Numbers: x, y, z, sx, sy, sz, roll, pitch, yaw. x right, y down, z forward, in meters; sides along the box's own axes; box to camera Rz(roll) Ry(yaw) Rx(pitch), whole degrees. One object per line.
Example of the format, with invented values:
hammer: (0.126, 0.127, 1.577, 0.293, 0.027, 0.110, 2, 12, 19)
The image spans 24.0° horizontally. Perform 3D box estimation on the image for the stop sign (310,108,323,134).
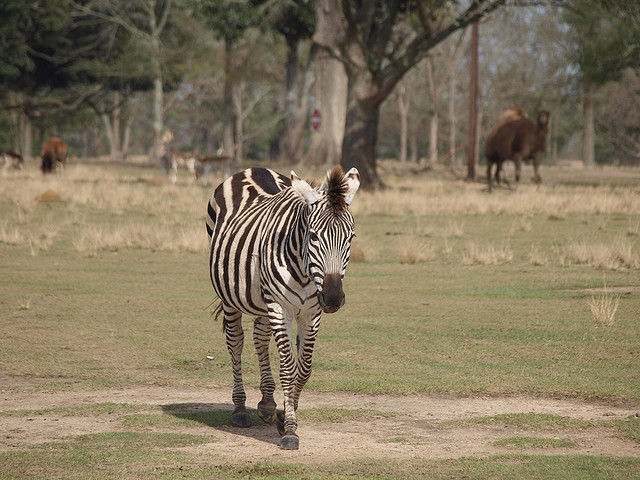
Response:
stop sign: (-0.148, -3.913, 48.426, 0.348, 0.746, 1.071, 2, 2, 3)

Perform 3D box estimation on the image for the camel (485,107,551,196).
camel: (5.690, -2.835, 44.585, 1.235, 2.364, 2.453, 1, 3, -27)
